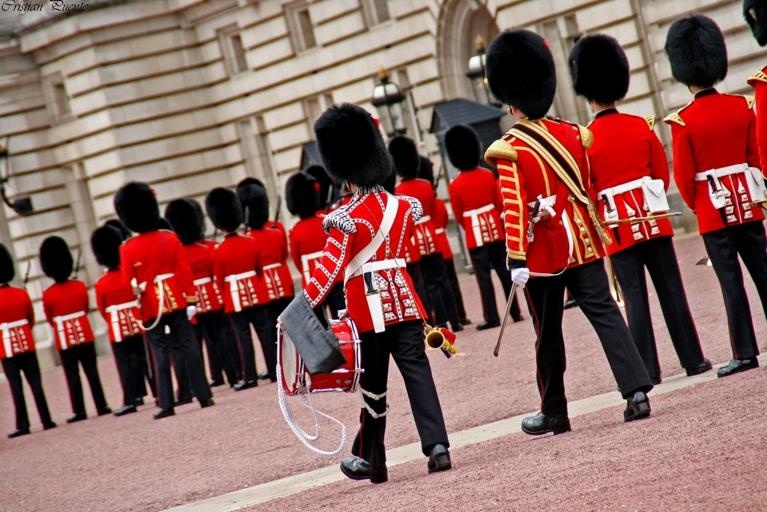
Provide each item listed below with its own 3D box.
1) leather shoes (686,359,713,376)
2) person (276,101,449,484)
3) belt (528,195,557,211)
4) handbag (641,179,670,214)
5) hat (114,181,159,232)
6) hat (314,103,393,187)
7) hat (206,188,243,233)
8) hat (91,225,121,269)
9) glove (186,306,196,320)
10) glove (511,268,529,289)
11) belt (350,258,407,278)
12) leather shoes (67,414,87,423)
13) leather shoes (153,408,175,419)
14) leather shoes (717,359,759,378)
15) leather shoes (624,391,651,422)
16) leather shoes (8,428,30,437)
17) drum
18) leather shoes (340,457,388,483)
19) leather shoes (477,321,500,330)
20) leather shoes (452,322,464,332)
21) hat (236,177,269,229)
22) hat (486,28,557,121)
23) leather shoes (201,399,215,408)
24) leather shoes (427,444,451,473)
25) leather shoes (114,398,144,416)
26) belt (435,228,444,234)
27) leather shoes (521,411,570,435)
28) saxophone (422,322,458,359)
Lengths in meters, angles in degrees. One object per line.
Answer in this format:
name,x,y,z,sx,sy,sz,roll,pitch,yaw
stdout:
leather shoes,2.660,0.940,11.095,0.260,0.102,0.094,-20,2,-11
person,-0.138,0.263,10.421,1.103,2.399,0.556,-9,-4,-5
belt,1.303,-0.446,10.480,0.178,0.109,0.076,-8,-4,-2
handbag,2.266,-0.506,10.995,0.225,0.277,0.086,-8,1,-2
hat,-2.593,-0.536,14.187,0.473,0.546,0.602,-12,9,-1
hat,-0.229,-0.889,10.401,0.557,0.702,0.197,-22,10,5
hat,-1.862,-0.562,15.484,0.412,0.534,0.146,-13,-3,5
hat,-3.214,-0.121,15.243,0.403,0.525,0.144,-11,-19,6
glove,-2.038,0.590,14.022,0.122,0.111,0.138,-1,4,-36
glove,1.101,0.160,10.503,0.148,0.129,0.232,-9,-4,4
belt,-0.054,0.086,10.434,0.488,0.114,0.117,-6,-4,-21
leather shoes,-3.575,1.882,15.322,0.268,0.095,0.086,3,-19,-18
leather shoes,-2.326,1.670,13.918,0.268,0.095,0.085,0,-5,-10
leather shoes,2.908,0.911,10.891,0.363,0.131,0.142,-11,-17,3
leather shoes,1.993,1.181,10.340,0.138,0.132,0.299,-10,-1,1
leather shoes,-4.199,2.028,15.138,0.200,0.116,0.110,2,-6,-3
drum,-0.516,0.758,10.353,0.613,0.654,0.648,-3,26,-11
leather shoes,-0.151,1.692,10.522,0.367,0.184,0.181,18,-7,3
leather shoes,1.182,0.762,14.776,0.270,0.103,0.095,-1,-5,3
leather shoes,0.858,0.800,15.127,0.096,0.121,0.173,0,1,26
hat,-1.536,-0.637,15.521,0.412,0.621,0.175,-13,-24,-2
hat,1.187,-1.409,10.771,0.557,0.607,0.745,-9,-48,15
leather shoes,-1.881,1.553,14.137,0.135,0.083,0.093,-2,0,-43
leather shoes,0.434,1.585,10.353,0.188,0.183,0.106,-8,-4,-1
leather shoes,-2.894,1.724,15.022,0.369,0.151,0.131,-14,-6,-17
belt,0.656,-0.307,15.277,0.073,0.062,0.019,-5,12,-30
leather shoes,1.303,1.341,10.591,0.363,0.182,0.176,2,-5,3
saxophone,0.478,0.738,11.384,0.208,0.196,0.524,12,-13,21
